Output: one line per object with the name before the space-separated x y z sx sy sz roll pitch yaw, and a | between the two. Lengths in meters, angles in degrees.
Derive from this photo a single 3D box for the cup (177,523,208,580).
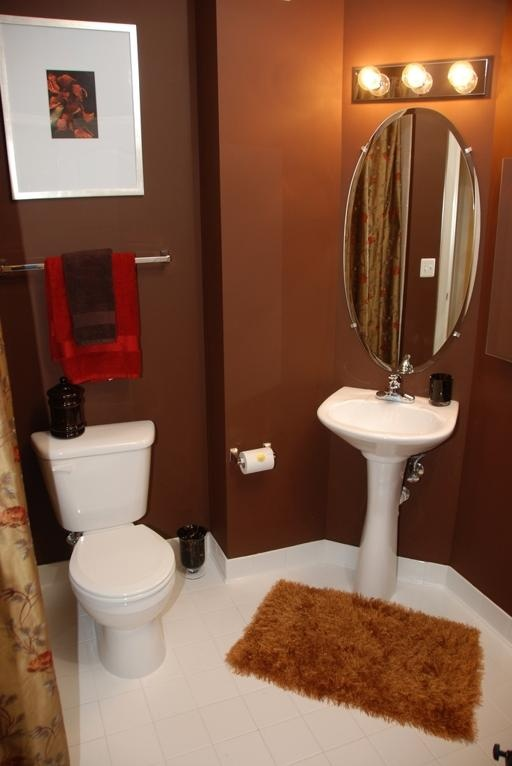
cup | -0.255 0.703 2.425 0.142 0.228 0.157 3 12 11

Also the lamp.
lamp | 0.533 -0.996 1.882 0.451 0.138 0.074 5 14 23

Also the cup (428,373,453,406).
cup | 0.657 0.027 2.041 0.074 0.113 0.105 2 6 16

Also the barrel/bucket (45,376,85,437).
barrel/bucket | -0.685 0.093 2.068 0.109 0.202 0.114 -2 10 0

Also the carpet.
carpet | 0.337 0.882 1.933 0.806 0.060 0.513 5 15 22

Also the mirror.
mirror | 0.551 -0.469 2.035 0.472 1.159 0.029 4 -12 12

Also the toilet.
toilet | -0.493 0.581 2.020 0.366 0.693 0.606 -10 26 -26

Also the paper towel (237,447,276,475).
paper towel | 0.000 0.281 2.165 0.123 0.106 0.110 -11 -5 -18

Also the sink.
sink | 0.452 0.178 2.035 0.501 0.192 0.451 13 19 40
